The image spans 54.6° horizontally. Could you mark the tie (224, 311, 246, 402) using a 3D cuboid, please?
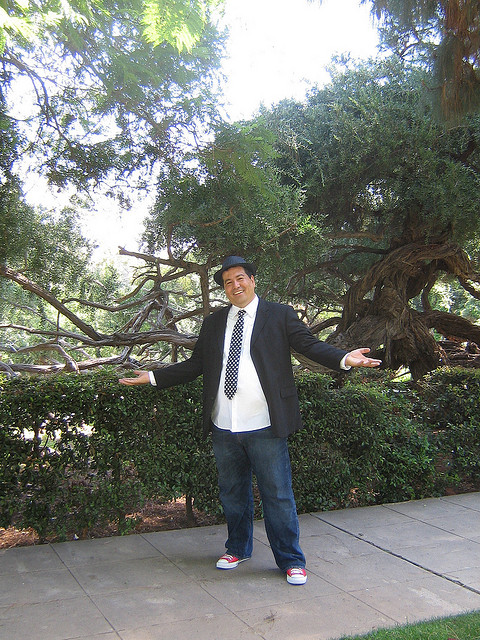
[{"bbox_3d":[-0.017,0.199,2.731,0.112,0.528,0.093,8,-12,-35],"label":"tie"}]

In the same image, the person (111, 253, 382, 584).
[{"bbox_3d":[0.083,0.546,2.783,1.235,1.843,0.441,-3,-11,21],"label":"person"}]
